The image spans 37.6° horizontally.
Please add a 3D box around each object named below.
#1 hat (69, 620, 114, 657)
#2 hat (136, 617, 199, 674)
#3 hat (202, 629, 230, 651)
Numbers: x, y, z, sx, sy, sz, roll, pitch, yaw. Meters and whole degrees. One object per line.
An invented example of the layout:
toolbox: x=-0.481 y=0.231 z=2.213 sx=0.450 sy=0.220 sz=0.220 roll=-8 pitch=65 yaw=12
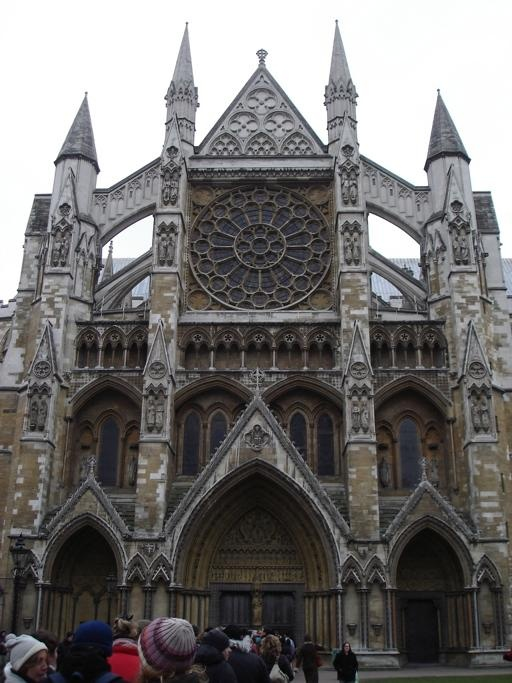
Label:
hat: x=-0.745 y=1.369 z=3.477 sx=0.143 sy=0.161 sz=0.195 roll=-5 pitch=-17 yaw=25
hat: x=-0.467 y=1.598 z=3.926 sx=0.284 sy=0.292 sz=0.311 roll=3 pitch=-23 yaw=-6
hat: x=-0.311 y=2.234 z=5.601 sx=0.190 sy=0.140 sz=0.139 roll=-2 pitch=-10 yaw=18
